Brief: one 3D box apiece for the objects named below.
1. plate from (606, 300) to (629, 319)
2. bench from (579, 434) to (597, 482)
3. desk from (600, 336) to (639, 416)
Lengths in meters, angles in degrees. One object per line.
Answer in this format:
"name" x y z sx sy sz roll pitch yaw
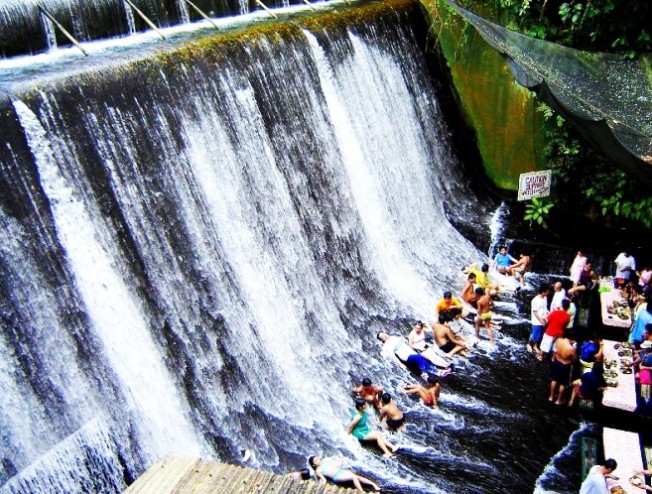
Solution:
"plate" 6.932 1.530 14.180 0.359 0.126 0.381 19 47 36
"bench" 4.942 3.952 11.240 0.263 0.063 0.738 -10 54 34
"desk" 5.969 2.707 12.205 0.594 0.420 1.759 5 54 15
